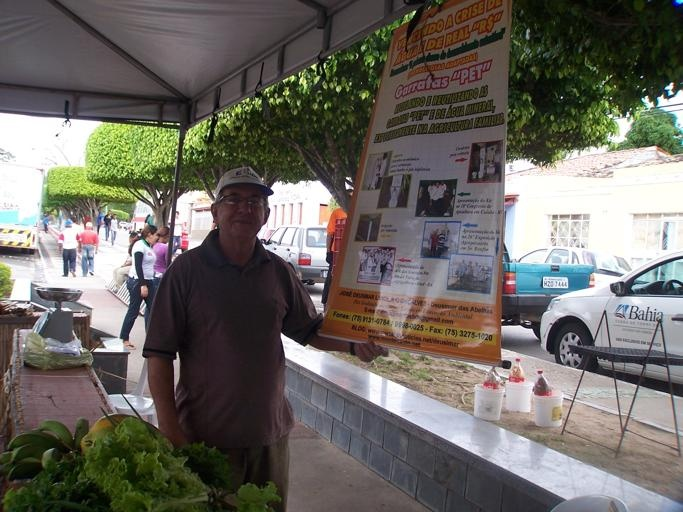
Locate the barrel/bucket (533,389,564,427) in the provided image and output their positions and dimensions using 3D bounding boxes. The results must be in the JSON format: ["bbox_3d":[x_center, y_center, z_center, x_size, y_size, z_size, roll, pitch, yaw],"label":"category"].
[{"bbox_3d":[2.055,1.542,4.359,0.313,0.297,0.315,0,-10,0],"label":"barrel/bucket"}]

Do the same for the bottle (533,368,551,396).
[{"bbox_3d":[1.993,1.249,4.290,0.167,0.268,0.362,4,2,25],"label":"bottle"}]

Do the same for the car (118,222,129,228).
[{"bbox_3d":[-46.403,-6.554,91.766,1.942,1.127,3.140,0,13,-26],"label":"car"}]

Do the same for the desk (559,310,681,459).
[{"bbox_3d":[3.515,1.592,5.374,1.094,1.904,1.334,4,-4,-27],"label":"desk"}]

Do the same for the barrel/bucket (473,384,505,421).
[{"bbox_3d":[1.425,1.427,4.260,0.320,0.313,0.339,4,-3,0],"label":"barrel/bucket"}]

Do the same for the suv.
[{"bbox_3d":[-1.795,-0.197,17.547,2.289,2.155,4.238,4,7,-35],"label":"suv"}]

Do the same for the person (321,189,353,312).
[{"bbox_3d":[-0.221,-0.156,9.451,0.534,2.514,1.392,8,1,0],"label":"person"}]

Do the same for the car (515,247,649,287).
[{"bbox_3d":[6.446,0.131,11.617,2.822,1.297,1.470,-3,-3,39],"label":"car"}]

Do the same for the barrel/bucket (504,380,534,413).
[{"bbox_3d":[1.818,1.437,4.514,0.286,0.295,0.300,2,-6,0],"label":"barrel/bucket"}]
